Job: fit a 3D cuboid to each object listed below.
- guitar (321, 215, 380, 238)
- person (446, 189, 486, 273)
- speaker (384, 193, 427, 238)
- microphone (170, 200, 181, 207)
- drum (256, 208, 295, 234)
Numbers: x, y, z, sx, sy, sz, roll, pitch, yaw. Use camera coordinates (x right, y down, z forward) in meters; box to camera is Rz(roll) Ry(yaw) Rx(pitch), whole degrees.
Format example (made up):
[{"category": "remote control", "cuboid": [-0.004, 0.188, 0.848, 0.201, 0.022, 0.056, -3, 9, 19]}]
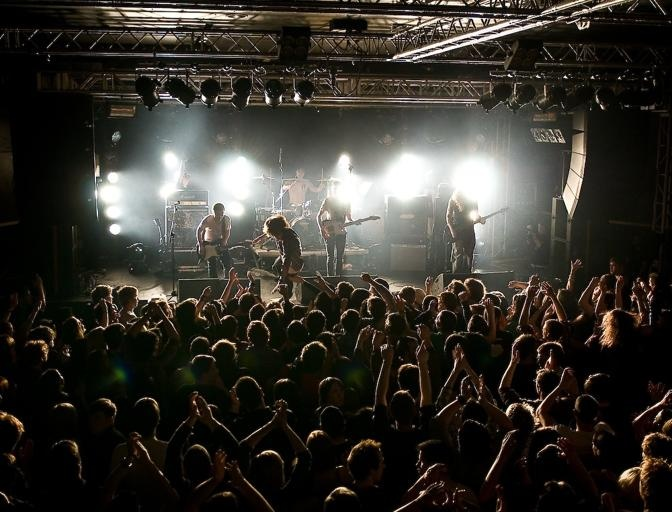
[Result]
[{"category": "guitar", "cuboid": [0.203, -0.566, 12.314, 0.424, 0.427, 1.286, 4, 3, 40]}, {"category": "person", "cuboid": [2.465, -0.457, 12.303, 0.648, 1.575, 0.976, 2, 2, 10]}, {"category": "speaker", "cuboid": [1.509, -0.789, 13.680, 0.815, 0.923, 0.848, 1, -1, -9]}, {"category": "microphone", "cuboid": [-3.493, -1.134, 14.002, 0.240, 0.131, 0.082, 4, 3, 34]}, {"category": "drum", "cuboid": [-1.147, -0.674, 12.283, 0.615, 0.627, 0.439, 3, -15, -4]}]
